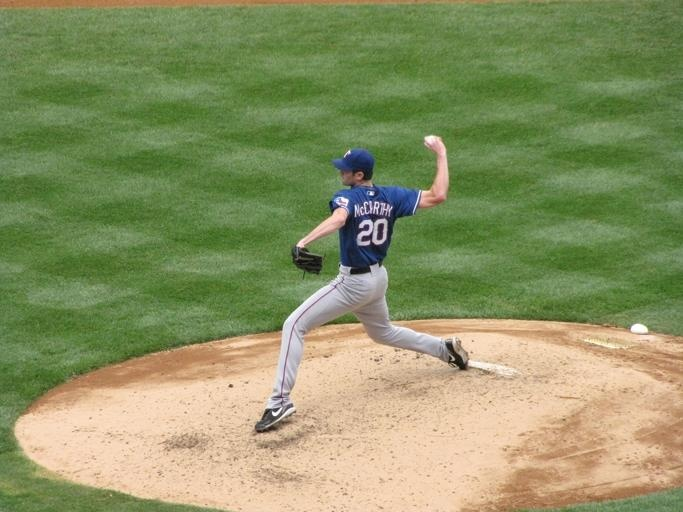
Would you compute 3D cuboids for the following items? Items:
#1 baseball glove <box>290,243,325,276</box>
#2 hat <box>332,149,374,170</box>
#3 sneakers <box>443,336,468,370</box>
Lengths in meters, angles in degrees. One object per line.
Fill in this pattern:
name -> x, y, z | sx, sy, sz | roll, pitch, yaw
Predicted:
baseball glove -> -0.447, 0.041, 16.033 | 0.464, 0.307, 0.179 | 13, 8, -2
hat -> 0.155, -1.305, 16.299 | 0.479, 0.213, 0.275 | 10, 24, 4
sneakers -> 1.584, 1.327, 16.891 | 0.298, 0.552, 0.196 | -20, 32, 9
